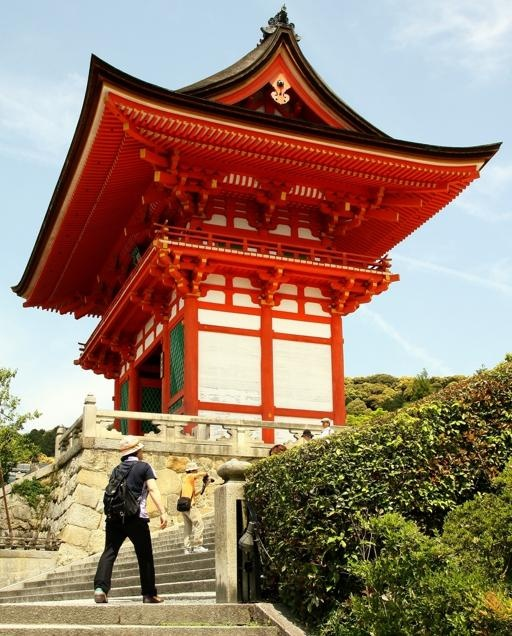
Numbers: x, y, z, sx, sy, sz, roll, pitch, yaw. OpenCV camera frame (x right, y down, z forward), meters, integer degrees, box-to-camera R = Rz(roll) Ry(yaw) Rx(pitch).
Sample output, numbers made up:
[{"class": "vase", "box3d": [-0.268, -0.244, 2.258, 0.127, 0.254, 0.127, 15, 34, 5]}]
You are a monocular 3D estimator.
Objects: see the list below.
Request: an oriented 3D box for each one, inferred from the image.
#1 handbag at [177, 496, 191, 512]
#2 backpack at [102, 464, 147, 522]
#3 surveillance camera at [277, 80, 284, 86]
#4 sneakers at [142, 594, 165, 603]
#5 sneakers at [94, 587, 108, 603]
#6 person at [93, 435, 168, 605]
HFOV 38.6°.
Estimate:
[{"class": "handbag", "box3d": [-0.848, 2.230, 8.773, 0.226, 0.137, 0.207, -1, -7, 35]}, {"class": "backpack", "box3d": [-1.104, 1.428, 5.991, 0.246, 0.399, 0.334, 16, -29, -43]}, {"class": "surveillance camera", "box3d": [0.546, -5.438, 16.941, 0.160, 0.138, 0.091, 9, -20, -29]}, {"class": "sneakers", "box3d": [-0.830, 2.250, 5.847, 0.188, 0.064, 0.058, -2, -23, -8]}, {"class": "sneakers", "box3d": [-1.228, 2.203, 5.775, 0.071, 0.083, 0.174, 3, -34, -2]}, {"class": "person", "box3d": [-1.024, 1.628, 5.989, 0.545, 1.336, 0.514, 1, -19, -5]}]
